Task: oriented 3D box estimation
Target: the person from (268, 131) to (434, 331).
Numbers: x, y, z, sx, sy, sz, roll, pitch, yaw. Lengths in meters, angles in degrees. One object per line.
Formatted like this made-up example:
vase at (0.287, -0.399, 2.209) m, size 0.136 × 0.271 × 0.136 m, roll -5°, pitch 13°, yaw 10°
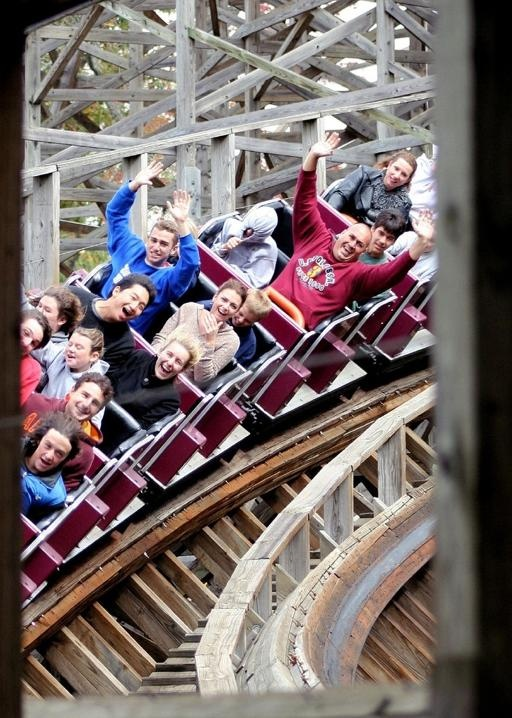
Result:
person at (0.540, -0.740, 6.307) m, size 0.579 × 1.143 × 1.105 m, roll -6°, pitch 11°, yaw -28°

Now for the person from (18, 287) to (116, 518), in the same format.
person at (-0.775, 0.149, 4.938) m, size 0.353 × 0.856 × 0.521 m, roll 1°, pitch 11°, yaw -42°
